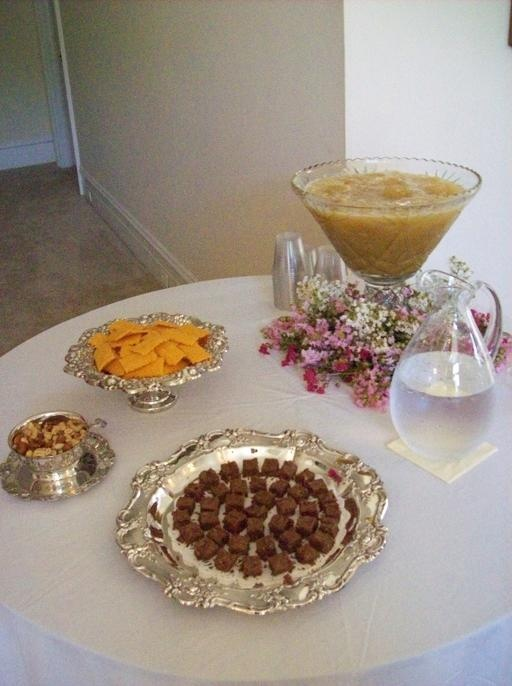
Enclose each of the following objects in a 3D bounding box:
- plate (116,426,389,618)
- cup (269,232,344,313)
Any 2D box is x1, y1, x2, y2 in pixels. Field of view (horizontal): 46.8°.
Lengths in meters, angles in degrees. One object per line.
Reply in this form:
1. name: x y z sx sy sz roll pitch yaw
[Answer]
1. plate: 0.004 0.197 0.715 0.277 0.161 0.246 6 25 15
2. cup: 0.086 -0.163 1.270 0.214 0.186 0.099 -6 36 -8
